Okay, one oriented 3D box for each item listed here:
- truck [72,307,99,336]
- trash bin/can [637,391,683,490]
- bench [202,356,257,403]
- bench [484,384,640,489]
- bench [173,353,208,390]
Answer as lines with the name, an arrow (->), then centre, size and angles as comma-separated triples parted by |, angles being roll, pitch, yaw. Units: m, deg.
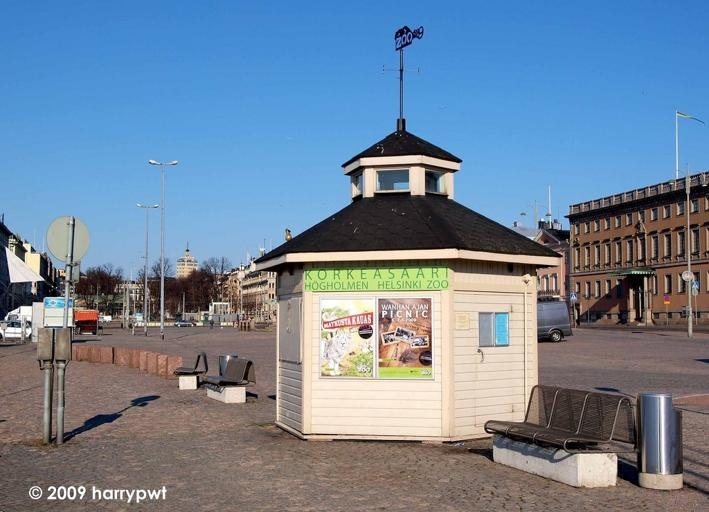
truck -> -20.495, 5.131, 64.310 | 1.643, 1.830, 3.046 | 1, -1, -19
trash bin/can -> 5.041, 3.013, 13.879 | 0.753, 1.442, 0.829 | 0, -3, -2
bench -> -3.249, 3.196, 21.798 | 1.102, 1.045, 1.899 | 1, -1, -16
bench -> 3.485, 3.073, 14.617 | 1.354, 1.461, 2.633 | 3, -5, -21
bench -> -4.756, 3.323, 24.320 | 1.068, 0.966, 1.131 | 1, -3, -29
